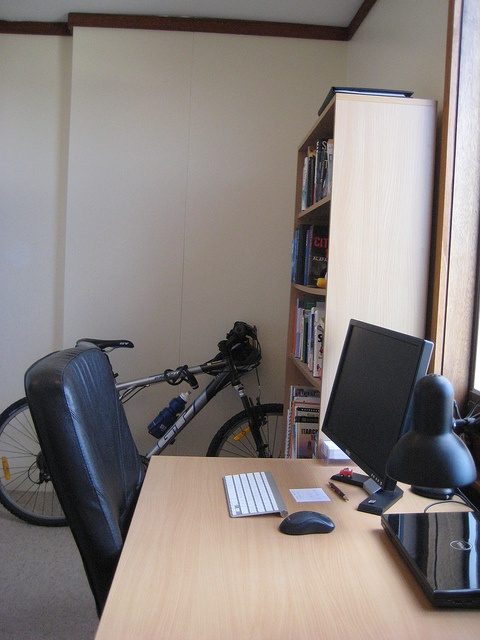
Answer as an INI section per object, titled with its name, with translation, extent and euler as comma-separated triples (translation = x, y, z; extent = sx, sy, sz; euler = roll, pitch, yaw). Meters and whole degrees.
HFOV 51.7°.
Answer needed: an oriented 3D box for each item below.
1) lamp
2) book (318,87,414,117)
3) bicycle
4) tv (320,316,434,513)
[lamp]
translation = 0.304, 0.176, 0.869
extent = 0.128, 0.222, 0.161
euler = -1, 4, 0
[book]
translation = 0.388, -0.684, 1.536
extent = 0.248, 0.061, 0.245
euler = -1, 6, 0
[bicycle]
translation = -0.553, 0.469, 2.695
extent = 1.309, 1.218, 0.840
euler = 1, 1, -5
[tv]
translation = 0.318, 0.228, 1.144
extent = 0.096, 0.388, 0.324
euler = 6, 5, -10
